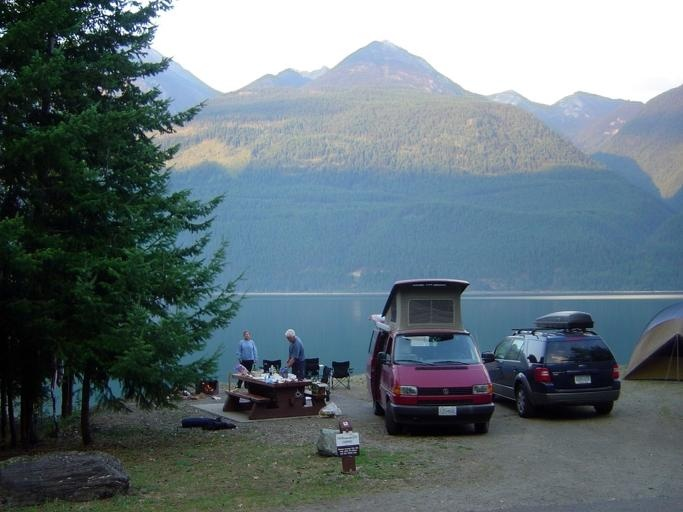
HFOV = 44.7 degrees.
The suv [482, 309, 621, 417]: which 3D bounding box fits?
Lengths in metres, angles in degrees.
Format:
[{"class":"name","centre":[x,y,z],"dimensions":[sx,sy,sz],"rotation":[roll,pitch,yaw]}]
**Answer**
[{"class":"suv","centre":[5.193,2.760,20.844],"dimensions":[2.168,1.778,3.660],"rotation":[0,3,-11]}]

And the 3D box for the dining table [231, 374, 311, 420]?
[{"class":"dining table","centre":[-2.079,3.654,21.510],"dimensions":[1.597,1.121,2.558],"rotation":[9,-13,-43]}]

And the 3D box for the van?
[{"class":"van","centre":[2.122,2.382,18.820],"dimensions":[1.818,2.404,4.554],"rotation":[0,-6,-4]}]
